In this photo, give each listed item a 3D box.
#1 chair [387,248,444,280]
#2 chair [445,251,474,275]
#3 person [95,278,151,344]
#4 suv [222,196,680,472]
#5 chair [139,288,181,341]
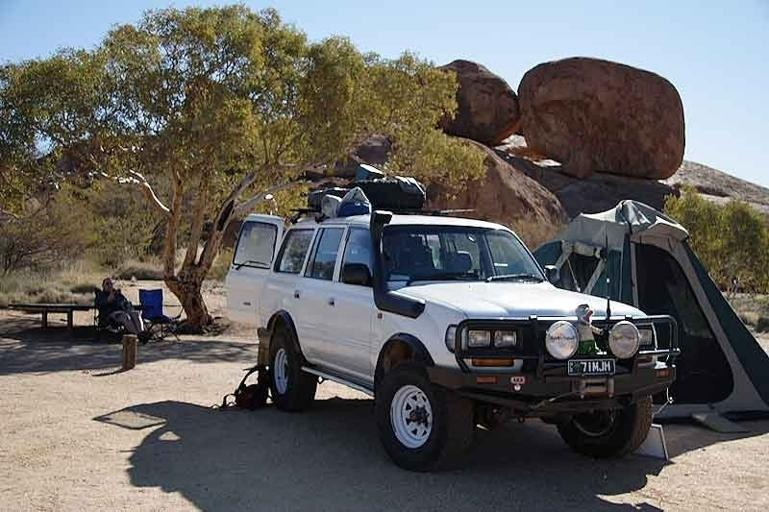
[{"bbox_3d":[0.413,0.105,9.552,0.390,0.334,0.634,1,5,-15],"label":"chair"},{"bbox_3d":[1.045,0.098,9.743,0.442,0.423,0.272,3,-14,-12],"label":"chair"},{"bbox_3d":[-6.053,1.134,15.826,1.933,1.063,0.811,17,12,33],"label":"person"},{"bbox_3d":[0.320,0.998,10.619,3.046,3.268,6.641,1,-1,-31],"label":"suv"},{"bbox_3d":[-5.598,1.497,17.258,0.927,1.277,0.974,-2,5,-33],"label":"chair"}]
